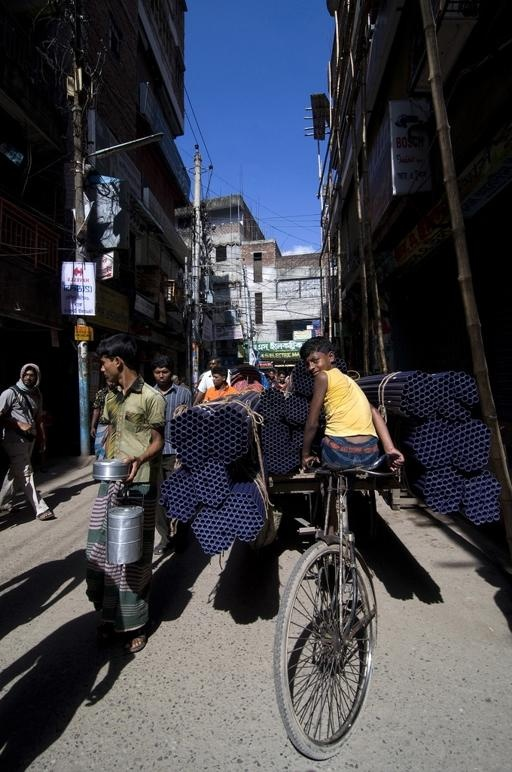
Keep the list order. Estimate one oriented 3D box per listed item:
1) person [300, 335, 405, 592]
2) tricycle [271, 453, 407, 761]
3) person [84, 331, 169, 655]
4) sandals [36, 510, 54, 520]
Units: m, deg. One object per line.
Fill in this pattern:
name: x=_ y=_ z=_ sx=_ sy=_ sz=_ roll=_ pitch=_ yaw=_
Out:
person: x=0.523 y=0.256 z=2.835 sx=0.520 sy=1.153 sz=0.390 roll=-9 pitch=-5 yaw=28
tricycle: x=0.336 y=0.894 z=2.122 sx=0.510 sy=1.055 sz=0.886 roll=-1 pitch=1 yaw=17
person: x=-0.729 y=0.540 z=2.750 sx=0.432 sy=1.671 sz=0.674 roll=-1 pitch=1 yaw=-9
sandals: x=-2.137 y=1.312 z=5.043 sx=0.083 sy=0.088 sz=0.179 roll=7 pitch=-27 yaw=-41
